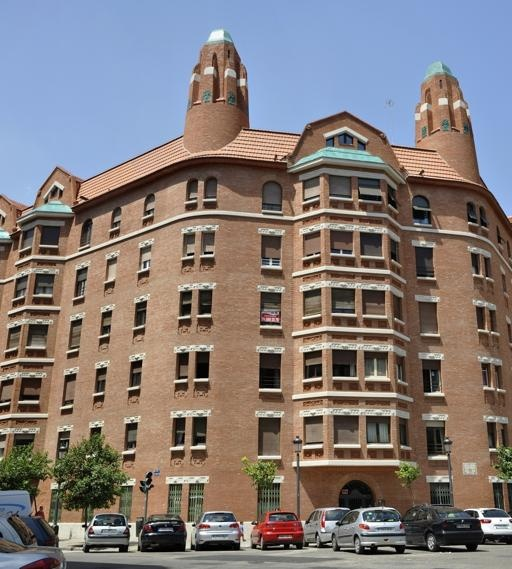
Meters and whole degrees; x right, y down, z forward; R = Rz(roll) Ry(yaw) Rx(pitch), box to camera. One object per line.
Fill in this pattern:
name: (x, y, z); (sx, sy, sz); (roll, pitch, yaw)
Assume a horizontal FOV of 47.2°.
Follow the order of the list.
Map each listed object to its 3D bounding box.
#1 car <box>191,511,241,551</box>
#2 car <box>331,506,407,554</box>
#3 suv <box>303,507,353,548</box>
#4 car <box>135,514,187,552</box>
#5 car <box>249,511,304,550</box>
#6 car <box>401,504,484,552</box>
car: (-1.385, 8.530, 20.348); (1.554, 1.267, 1.774); (4, -25, -5)
car: (3.486, 7.487, 18.172); (1.639, 0.962, 2.410); (4, -20, -9)
suv: (2.658, 9.121, 22.132); (1.419, 1.008, 2.458); (4, -22, -9)
car: (-3.237, 8.534, 20.197); (1.554, 1.203, 1.931); (6, -24, -8)
car: (0.736, 8.574, 20.497); (1.624, 1.226, 1.709); (3, -24, -3)
car: (5.750, 7.524, 18.191); (1.125, 1.315, 2.234); (9, -25, -14)
